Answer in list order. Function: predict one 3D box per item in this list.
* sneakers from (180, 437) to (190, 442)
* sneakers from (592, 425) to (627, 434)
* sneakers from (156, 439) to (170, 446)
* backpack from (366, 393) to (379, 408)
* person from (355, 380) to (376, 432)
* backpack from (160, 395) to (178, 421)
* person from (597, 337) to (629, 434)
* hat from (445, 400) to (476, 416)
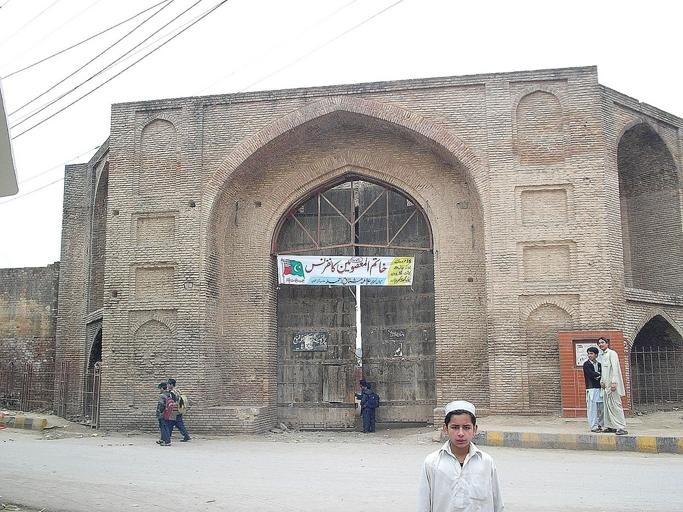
[{"bbox_3d":[-3.171,3.708,15.419,0.162,0.141,0.078,5,-13,-8],"label":"sneakers"},{"bbox_3d":[4.536,2.953,12.939,0.491,0.179,0.163,-7,-11,23],"label":"sneakers"},{"bbox_3d":[-3.492,3.631,14.834,0.334,0.130,0.108,-1,-9,14],"label":"sneakers"},{"bbox_3d":[0.736,3.489,18.459,0.387,0.450,0.215,3,-14,-17],"label":"backpack"},{"bbox_3d":[0.614,3.670,18.720,0.499,1.281,0.885,-1,-14,0],"label":"person"},{"bbox_3d":[-3.348,2.980,14.930,0.165,0.460,0.412,-6,-14,20],"label":"backpack"},{"bbox_3d":[4.555,2.173,12.864,0.386,1.624,0.706,-6,-15,18],"label":"person"},{"bbox_3d":[0.944,1.239,6.238,0.174,0.067,0.165,7,-16,-21],"label":"hat"}]
